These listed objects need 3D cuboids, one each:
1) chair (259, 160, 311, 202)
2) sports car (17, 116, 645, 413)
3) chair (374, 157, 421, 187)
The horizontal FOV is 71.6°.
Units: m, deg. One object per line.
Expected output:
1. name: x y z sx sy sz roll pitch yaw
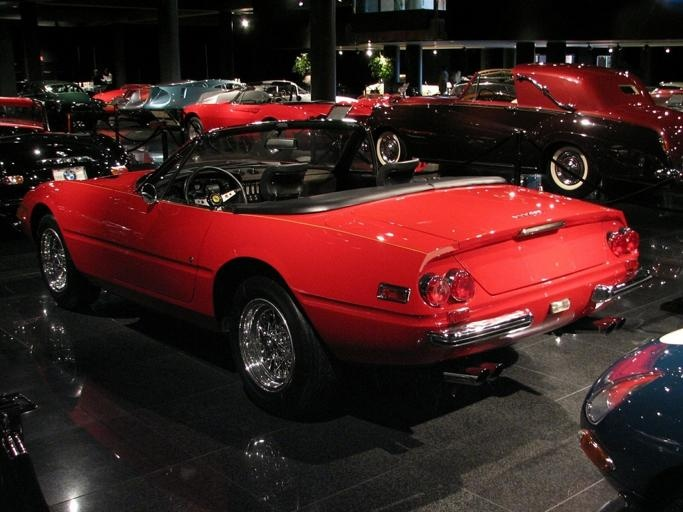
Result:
1. chair: -0.447 -0.571 3.702 0.238 0.280 0.457 6 16 32
2. sports car: -0.833 -0.198 4.295 5.103 1.415 2.657 14 19 38
3. chair: 0.434 -0.742 4.122 0.285 0.205 0.346 -13 25 -35
